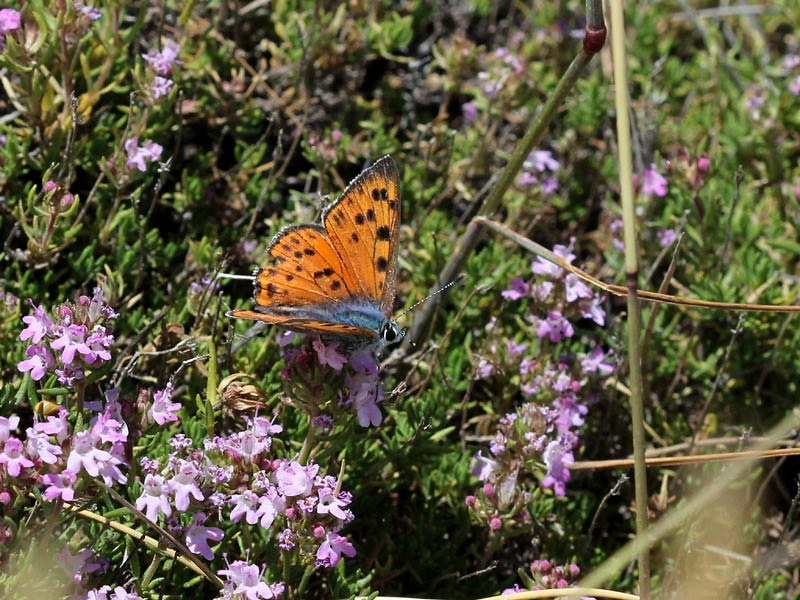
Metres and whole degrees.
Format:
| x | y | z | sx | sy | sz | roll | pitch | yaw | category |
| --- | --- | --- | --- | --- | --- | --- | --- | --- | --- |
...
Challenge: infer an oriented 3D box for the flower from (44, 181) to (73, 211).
| x | y | z | sx | sy | sz | roll | pitch | yaw | category |
| --- | --- | --- | --- | --- | --- | --- | --- | --- | --- |
| -1.682 | -0.506 | 4.377 | 0.114 | 0.070 | 0.162 | -17 | 77 | -39 | flower |

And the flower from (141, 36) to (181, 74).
| x | y | z | sx | sy | sz | roll | pitch | yaw | category |
| --- | --- | --- | --- | --- | --- | --- | --- | --- | --- |
| -1.267 | -1.297 | 4.701 | 0.180 | 0.202 | 0.231 | -4 | 40 | -16 | flower |

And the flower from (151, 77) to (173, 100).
| x | y | z | sx | sy | sz | roll | pitch | yaw | category |
| --- | --- | --- | --- | --- | --- | --- | --- | --- | --- |
| -1.252 | -1.112 | 4.639 | 0.097 | 0.096 | 0.100 | -3 | 40 | -16 | flower |
